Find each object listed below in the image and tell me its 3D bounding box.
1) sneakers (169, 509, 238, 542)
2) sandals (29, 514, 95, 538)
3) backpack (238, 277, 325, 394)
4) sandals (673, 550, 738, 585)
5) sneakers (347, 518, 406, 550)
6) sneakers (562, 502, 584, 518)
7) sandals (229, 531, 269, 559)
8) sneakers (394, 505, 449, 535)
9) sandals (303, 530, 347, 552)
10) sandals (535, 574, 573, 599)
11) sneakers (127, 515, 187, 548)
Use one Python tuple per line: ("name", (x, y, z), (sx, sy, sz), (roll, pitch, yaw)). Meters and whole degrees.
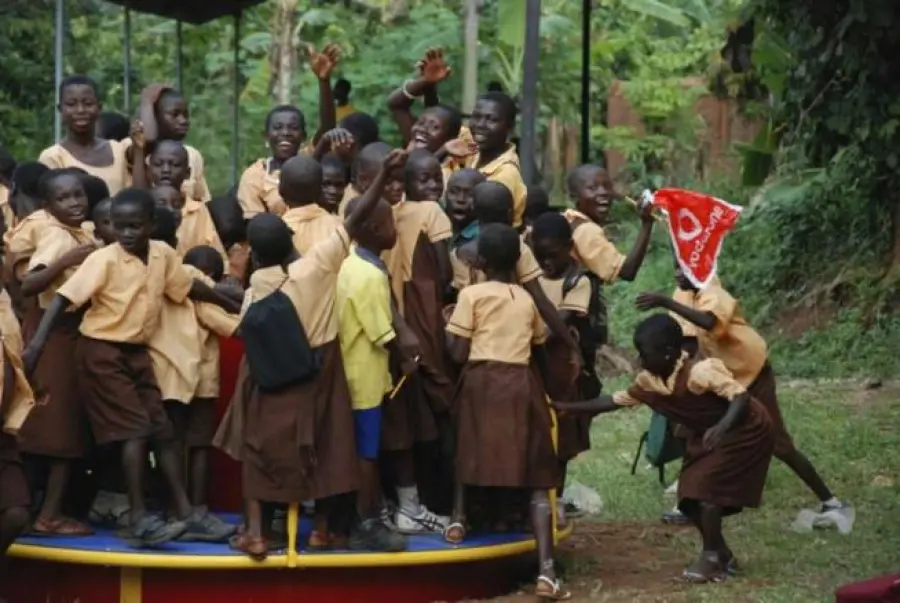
("sneakers", (-1.741, 1.585, 8.103), (0.437, 0.209, 0.170), (1, 11, -3))
("sandals", (-2.799, 1.595, 8.161), (0.363, 0.136, 0.181), (-1, -2, -5))
("backpack", (-1.134, 0.229, 7.878), (0.560, 0.673, 0.368), (-22, 8, 7))
("sandals", (1.851, 1.905, 8.321), (0.468, 0.190, 0.194), (-3, 2, -20))
("sneakers", (-0.520, 1.618, 8.042), (0.442, 0.249, 0.183), (3, 2, 0))
("sneakers", (1.034, 1.757, 9.637), (0.100, 0.097, 0.249), (-1, -6, 8))
("sandals", (-1.390, 1.668, 7.918), (0.258, 0.115, 0.124), (18, 13, 34))
("sneakers", (-0.209, 1.616, 8.481), (0.405, 0.175, 0.174), (0, -1, -7))
("sandals", (-0.864, 1.672, 7.996), (0.259, 0.099, 0.128), (-5, 11, -24))
("sandals", (0.743, 1.996, 8.020), (0.263, 0.126, 0.142), (7, 0, -43))
("sneakers", (-2.049, 1.595, 7.958), (0.391, 0.184, 0.188), (-5, 16, 14))
